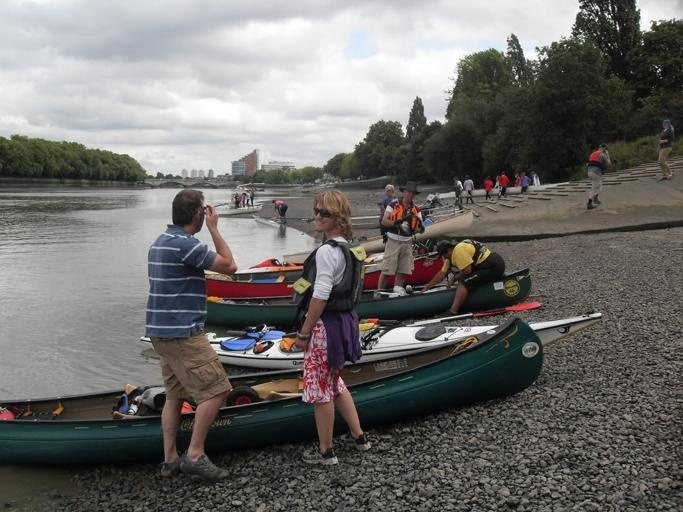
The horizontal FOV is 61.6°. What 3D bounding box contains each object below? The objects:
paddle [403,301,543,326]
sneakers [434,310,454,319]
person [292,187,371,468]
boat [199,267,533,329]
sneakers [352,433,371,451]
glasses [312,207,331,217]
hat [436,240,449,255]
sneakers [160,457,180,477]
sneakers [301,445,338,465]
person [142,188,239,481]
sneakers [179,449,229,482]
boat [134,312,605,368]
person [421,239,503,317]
[{"bbox_3d":[2.250,1.000,9.972,1.597,0.060,0.163,-9,17,-8],"label":"paddle"},{"bbox_3d":[1.878,1.058,10.525,0.343,0.124,0.112,0,1,-7],"label":"sneakers"},{"bbox_3d":[-0.115,0.866,6.219,0.610,3.140,0.740,4,10,34],"label":"person"},{"bbox_3d":[0.491,0.730,9.449,4.867,0.750,0.957,-4,4,-3],"label":"boat"},{"bbox_3d":[0.230,2.146,6.701,0.180,0.129,0.294,-2,7,-12],"label":"sneakers"},{"bbox_3d":[-0.215,-0.462,6.098,0.081,0.099,0.229,-8,10,-42],"label":"glasses"},{"bbox_3d":[1.699,-0.129,9.715,0.240,0.246,0.207,-3,8,-16],"label":"hat"},{"bbox_3d":[-1.940,2.362,6.462,0.126,0.130,0.301,-2,3,-30],"label":"sneakers"},{"bbox_3d":[-0.264,2.295,6.625,0.491,0.208,0.206,1,1,37],"label":"sneakers"},{"bbox_3d":[-1.626,0.880,6.204,0.941,3.151,0.553,-2,8,-5],"label":"person"},{"bbox_3d":[-1.437,2.333,6.404,0.641,0.254,0.221,13,5,1],"label":"sneakers"},{"bbox_3d":[0.622,1.150,7.745,4.262,0.390,0.805,-7,2,-5],"label":"boat"},{"bbox_3d":[2.107,0.393,10.153,1.324,1.403,0.817,-6,9,-32],"label":"person"}]
